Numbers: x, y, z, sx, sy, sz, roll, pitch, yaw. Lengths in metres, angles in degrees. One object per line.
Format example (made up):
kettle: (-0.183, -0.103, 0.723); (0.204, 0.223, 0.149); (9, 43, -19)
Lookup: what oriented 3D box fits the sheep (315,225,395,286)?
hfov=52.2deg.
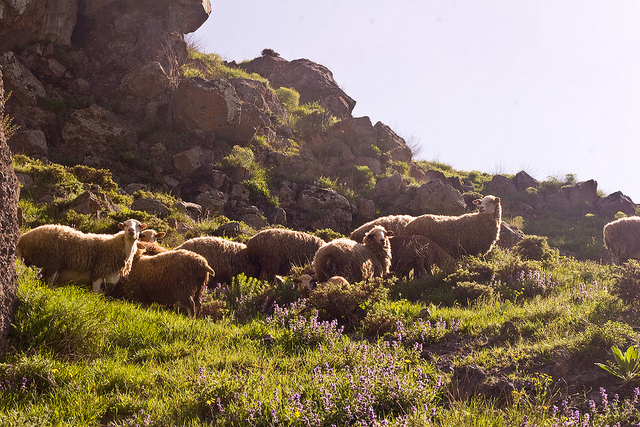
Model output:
sheep: (1.201, 1.317, 20.390); (2.722, 2.287, 1.228); (21, -20, -39)

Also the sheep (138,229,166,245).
sheep: (-5.377, 0.754, 20.769); (0.696, 0.447, 0.437); (4, 1, 21)

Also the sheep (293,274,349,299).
sheep: (0.030, 2.044, 18.820); (1.272, 0.812, 0.676); (2, -15, 9)

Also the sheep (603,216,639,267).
sheep: (11.386, 1.129, 24.606); (1.707, 2.030, 1.654); (6, -6, -36)

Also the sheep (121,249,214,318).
sheep: (-4.831, 2.138, 19.534); (3.374, 2.102, 1.279); (2, -3, 20)

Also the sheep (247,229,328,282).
sheep: (-0.962, 1.593, 22.307); (2.979, 2.142, 1.324); (2, 0, -31)

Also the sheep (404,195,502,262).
sheep: (5.036, 0.486, 23.019); (3.681, 3.079, 1.719); (1, -5, -12)
